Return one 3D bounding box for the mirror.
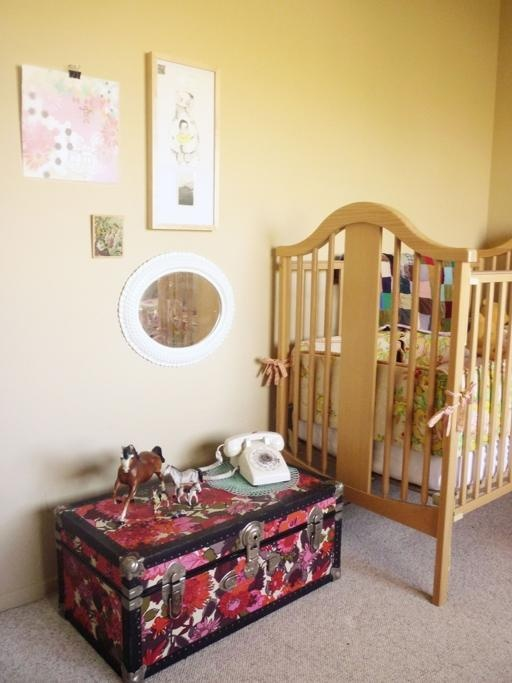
[{"bbox_3d":[-0.281,-0.113,1.911,0.412,0.352,0.023,-8,17,-39],"label":"mirror"}]

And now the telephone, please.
[{"bbox_3d":[-0.001,0.381,1.885,0.220,0.104,0.216,5,18,-15],"label":"telephone"}]

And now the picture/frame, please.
[{"bbox_3d":[-0.236,-0.633,1.859,0.032,0.532,0.281,9,11,44],"label":"picture/frame"}]

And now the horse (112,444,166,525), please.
[{"bbox_3d":[-0.338,0.364,1.619,0.095,0.198,0.270,3,9,15],"label":"horse"}]
